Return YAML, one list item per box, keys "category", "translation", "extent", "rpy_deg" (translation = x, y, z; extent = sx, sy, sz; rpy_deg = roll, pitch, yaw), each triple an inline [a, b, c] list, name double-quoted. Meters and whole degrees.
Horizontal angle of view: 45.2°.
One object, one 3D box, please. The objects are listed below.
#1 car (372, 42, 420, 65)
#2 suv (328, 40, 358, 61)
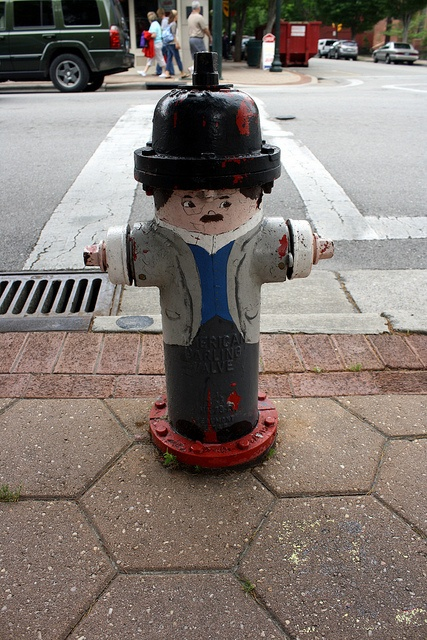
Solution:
- category: "car"
  translation: [12.689, -18.123, 34.942]
  extent: [2.300, 1.331, 3.002]
  rpy_deg: [2, 27, 4]
- category: "suv"
  translation: [10.691, -21.873, 41.685]
  extent: [2.095, 1.339, 2.599]
  rpy_deg: [3, 27, 7]
